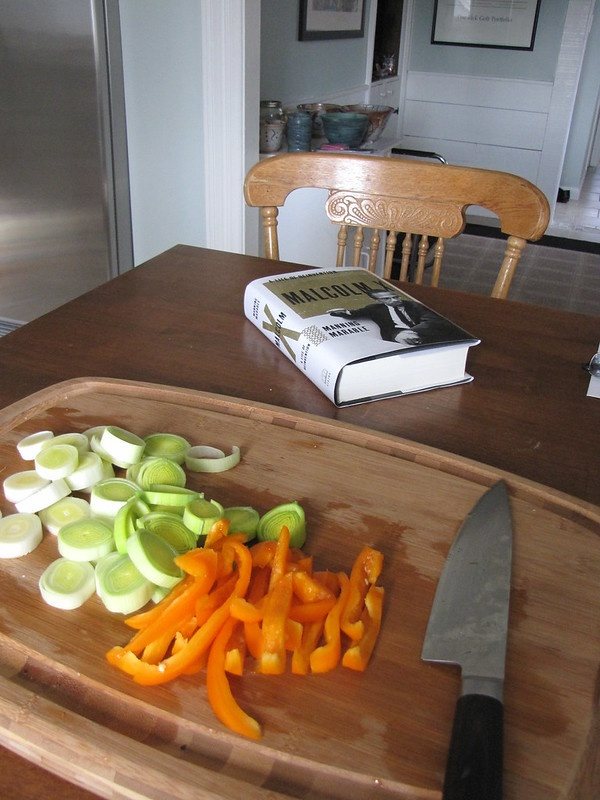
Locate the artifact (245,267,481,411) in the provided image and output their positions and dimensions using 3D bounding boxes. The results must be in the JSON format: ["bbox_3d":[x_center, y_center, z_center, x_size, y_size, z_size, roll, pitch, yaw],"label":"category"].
[{"bbox_3d":[0.051,-0.119,0.873,0.207,0.059,0.266,-13,36,-24],"label":"artifact"}]
